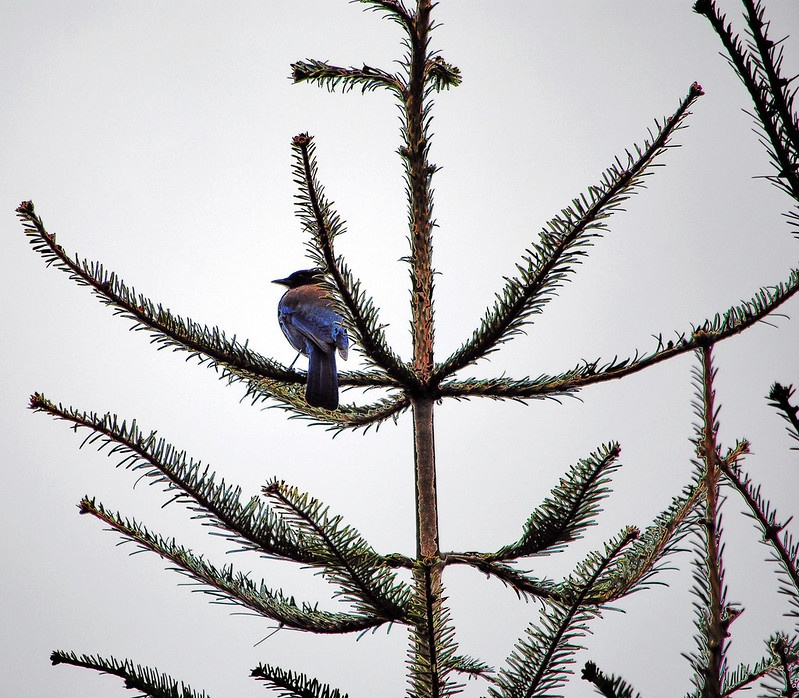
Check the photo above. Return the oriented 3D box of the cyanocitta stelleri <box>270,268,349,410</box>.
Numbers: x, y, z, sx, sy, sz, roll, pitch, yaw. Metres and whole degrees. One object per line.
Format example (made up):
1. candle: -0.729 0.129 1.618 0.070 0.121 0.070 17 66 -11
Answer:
1. cyanocitta stelleri: -0.452 -0.102 8.196 0.289 1.141 0.599 9 -86 -17
